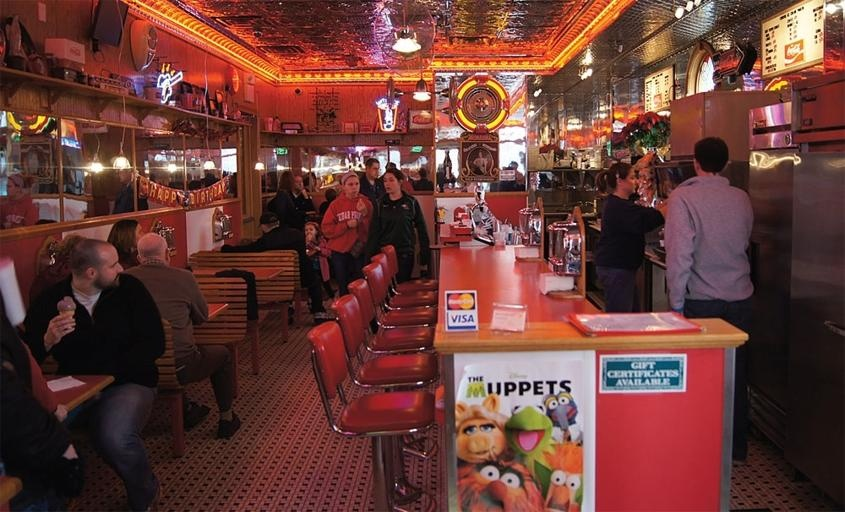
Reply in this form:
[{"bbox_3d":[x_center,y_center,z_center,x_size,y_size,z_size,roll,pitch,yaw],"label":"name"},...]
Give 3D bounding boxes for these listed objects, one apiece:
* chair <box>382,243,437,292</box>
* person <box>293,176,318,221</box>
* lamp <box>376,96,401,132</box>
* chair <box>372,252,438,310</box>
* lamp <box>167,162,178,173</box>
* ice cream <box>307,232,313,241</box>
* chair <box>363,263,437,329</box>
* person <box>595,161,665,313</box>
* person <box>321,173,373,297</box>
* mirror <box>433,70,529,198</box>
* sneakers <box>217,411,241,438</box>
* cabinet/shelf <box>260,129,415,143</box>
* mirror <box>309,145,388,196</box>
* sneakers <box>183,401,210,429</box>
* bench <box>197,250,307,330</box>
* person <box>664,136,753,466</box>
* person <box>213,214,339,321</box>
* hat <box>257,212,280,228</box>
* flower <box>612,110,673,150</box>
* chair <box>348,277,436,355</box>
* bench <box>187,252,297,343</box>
[{"bbox_3d":[-0.144,0.130,7.057,0.583,0.704,0.534,-1,4,2],"label":"chair"},{"bbox_3d":[-2.372,-1.114,11.989,0.354,0.974,0.743,1,11,2],"label":"person"},{"bbox_3d":[-0.894,-3.204,13.600,0.696,0.845,0.705,0,8,5],"label":"lamp"},{"bbox_3d":[-0.184,0.206,6.870,0.665,1.088,0.628,-2,7,3],"label":"chair"},{"bbox_3d":[-3.565,-1.249,8.564,0.107,0.103,0.103,-9,6,-41],"label":"lamp"},{"bbox_3d":[-1.738,-0.298,9.199,0.085,0.109,0.035,-3,-6,16],"label":"ice cream"},{"bbox_3d":[-0.186,0.308,6.152,0.660,1.119,0.622,-3,8,1],"label":"chair"},{"bbox_3d":[2.014,-0.156,6.018,0.557,1.538,0.921,-1,10,5],"label":"person"},{"bbox_3d":[-1.006,-0.188,8.317,0.726,1.875,0.581,-1,19,0],"label":"person"},{"bbox_3d":[0.873,-1.964,9.517,1.561,2.076,3.393,0,10,9],"label":"mirror"},{"bbox_3d":[-1.814,1.576,5.677,0.122,0.146,0.349,0,2,0],"label":"sneakers"},{"bbox_3d":[-1.881,-2.759,13.691,3.237,0.482,0.319,1,1,4],"label":"cabinet/shelf"},{"bbox_3d":[-1.509,-1.772,12.073,1.682,0.960,0.016,0,-4,-2],"label":"mirror"},{"bbox_3d":[-2.228,1.546,5.890,0.125,0.144,0.367,0,3,2],"label":"sneakers"},{"bbox_3d":[-2.071,0.287,7.914,1.214,0.769,0.779,0,5,5],"label":"bench"},{"bbox_3d":[2.416,0.372,5.079,0.701,2.704,0.576,2,10,23],"label":"person"},{"bbox_3d":[-1.927,0.175,8.027,1.614,1.078,0.726,-1,3,1],"label":"person"},{"bbox_3d":[-2.146,-0.509,8.384,0.208,0.162,0.280,-7,17,-22],"label":"hat"},{"bbox_3d":[2.657,-1.460,7.078,0.510,0.263,0.505,-7,15,-17],"label":"flower"},{"bbox_3d":[-0.279,0.543,5.513,0.729,0.547,0.667,-2,10,-3],"label":"chair"},{"bbox_3d":[-2.074,0.427,6.860,1.138,0.758,0.511,0,7,4],"label":"bench"}]
